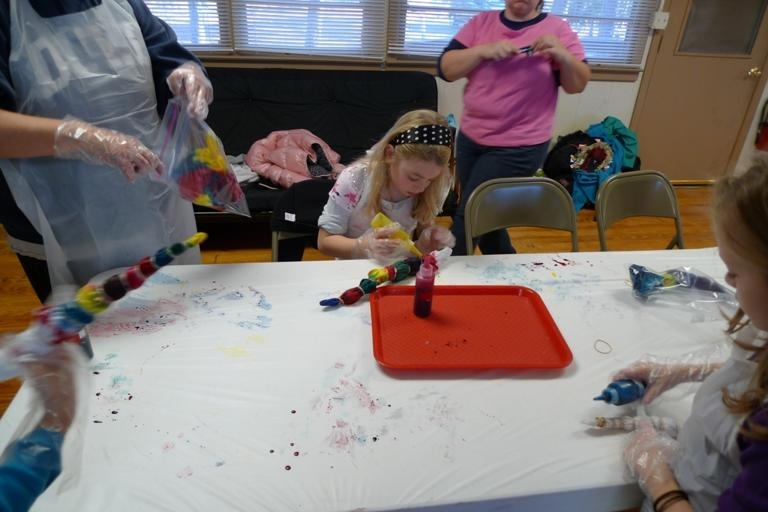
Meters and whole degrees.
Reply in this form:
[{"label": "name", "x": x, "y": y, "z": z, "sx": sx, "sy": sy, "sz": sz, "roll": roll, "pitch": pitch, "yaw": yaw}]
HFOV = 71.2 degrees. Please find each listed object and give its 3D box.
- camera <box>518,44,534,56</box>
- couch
[{"label": "camera", "x": 0.681, "y": -0.990, "z": 2.571, "sx": 0.079, "sy": 0.046, "sz": 0.030, "roll": -9, "pitch": -13, "yaw": -17}, {"label": "couch", "x": -0.235, "y": -0.755, "z": 3.861, "sx": 1.758, "sy": 1.193, "sz": 0.965, "roll": -7, "pitch": 15, "yaw": -24}]
